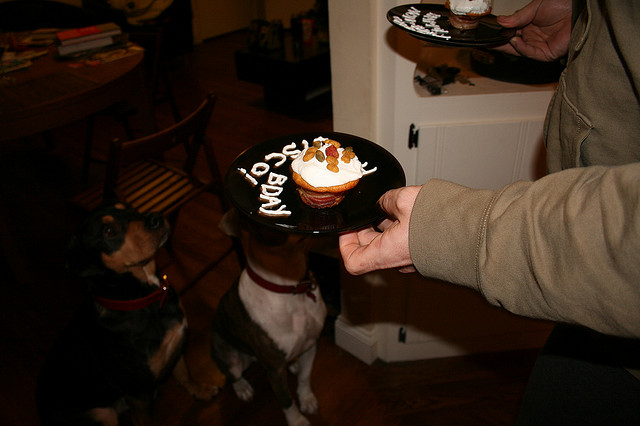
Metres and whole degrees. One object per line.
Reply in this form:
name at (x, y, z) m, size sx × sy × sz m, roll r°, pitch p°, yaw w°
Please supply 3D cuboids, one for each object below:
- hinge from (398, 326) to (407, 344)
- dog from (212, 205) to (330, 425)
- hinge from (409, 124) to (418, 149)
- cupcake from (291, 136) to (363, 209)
hinge at (0.477, 0.715, 2.776) m, size 0.053 × 0.124 × 0.024 m, roll 5°, pitch 39°, yaw 10°
dog at (-0.266, 0.523, 2.372) m, size 0.539 × 1.228 × 0.443 m, roll 14°, pitch 41°, yaw 20°
hinge at (0.434, -0.356, 2.222) m, size 0.038 × 0.109 × 0.028 m, roll -5°, pitch 38°, yaw -2°
cupcake at (0.022, -0.152, 1.851) m, size 0.281 × 0.198 × 0.300 m, roll 20°, pitch 38°, yaw 24°
